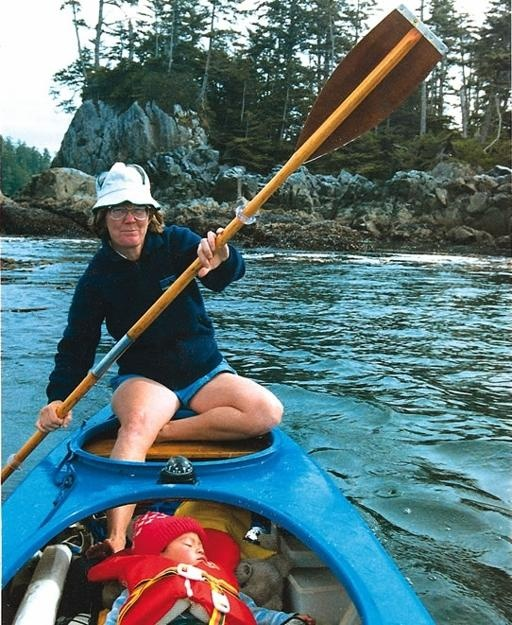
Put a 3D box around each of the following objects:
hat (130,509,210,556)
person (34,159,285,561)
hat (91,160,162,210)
[{"bbox_3d":[-0.252,0.621,1.829,0.200,0.118,0.169,2,10,4],"label":"hat"},{"bbox_3d":[-0.141,-0.044,2.950,1.224,1.190,1.563,-8,11,-19],"label":"person"},{"bbox_3d":[-0.544,-0.555,2.798,0.346,0.178,0.354,7,20,22],"label":"hat"}]
